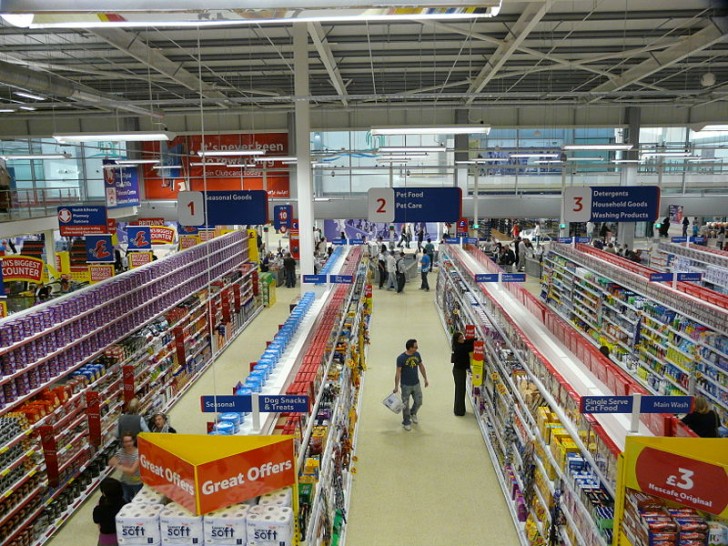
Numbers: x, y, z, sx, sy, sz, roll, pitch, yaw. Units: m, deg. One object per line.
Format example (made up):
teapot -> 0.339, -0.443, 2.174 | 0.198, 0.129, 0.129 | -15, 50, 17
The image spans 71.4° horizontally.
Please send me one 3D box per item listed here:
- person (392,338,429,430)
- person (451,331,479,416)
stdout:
person -> 0.834, 1.955, 9.052 | 0.510, 1.727, 0.936 | 4, 12, 18
person -> 1.827, 1.904, 9.510 | 0.403, 1.658, 0.736 | 2, 12, 10
